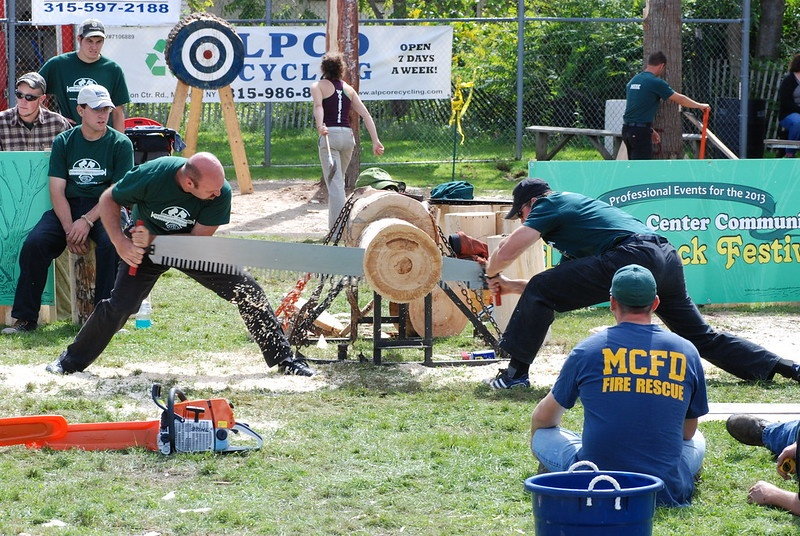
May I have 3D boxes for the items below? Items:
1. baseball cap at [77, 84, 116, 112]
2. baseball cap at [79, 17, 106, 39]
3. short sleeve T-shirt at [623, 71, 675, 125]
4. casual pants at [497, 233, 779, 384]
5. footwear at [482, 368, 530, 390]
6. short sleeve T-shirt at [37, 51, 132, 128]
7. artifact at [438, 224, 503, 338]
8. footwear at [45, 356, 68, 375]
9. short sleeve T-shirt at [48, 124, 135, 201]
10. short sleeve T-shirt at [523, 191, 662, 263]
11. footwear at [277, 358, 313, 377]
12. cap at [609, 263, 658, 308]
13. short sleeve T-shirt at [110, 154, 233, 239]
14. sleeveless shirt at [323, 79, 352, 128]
[{"bbox_3d":[-3.501,-1.941,16.446,0.370,0.175,0.265,7,11,42],"label":"baseball cap"},{"bbox_3d":[-3.813,-2.914,17.620,0.300,0.221,0.345,-3,9,-16],"label":"baseball cap"},{"bbox_3d":[3.539,-2.414,20.574,0.807,0.762,0.286,7,12,38],"label":"short sleeve T-shirt"},{"bbox_3d":[2.647,0.481,15.715,1.049,1.831,4.054,-15,11,-42],"label":"casual pants"},{"bbox_3d":[1.150,1.280,15.992,0.545,0.216,0.184,3,-9,7],"label":"footwear"},{"bbox_3d":[-4.004,-2.183,17.905,1.272,0.899,0.419,1,16,-17],"label":"short sleeve T-shirt"},{"bbox_3d":[0.747,0.167,16.861,0.966,1.176,0.461,-2,-4,-43],"label":"artifact"},{"bbox_3d":[-3.856,1.120,15.994,0.272,0.164,0.143,16,-11,-1],"label":"footwear"},{"bbox_3d":[-3.655,-1.217,17.088,1.166,0.833,0.574,3,18,11],"label":"short sleeve T-shirt"},{"bbox_3d":[1.988,-0.464,15.462,1.104,0.363,0.793,7,-23,13],"label":"short sleeve T-shirt"},{"bbox_3d":[-1.189,1.153,16.150,0.503,0.190,0.159,0,1,9],"label":"footwear"},{"bbox_3d":[2.221,0.190,13.644,0.326,0.235,0.460,3,19,8],"label":"cap"},{"bbox_3d":[-2.555,-0.744,15.700,1.050,0.583,1.331,-15,-22,36],"label":"short sleeve T-shirt"},{"bbox_3d":[-0.872,-2.222,19.707,0.441,0.636,0.113,-6,11,-32],"label":"sleeveless shirt"}]
